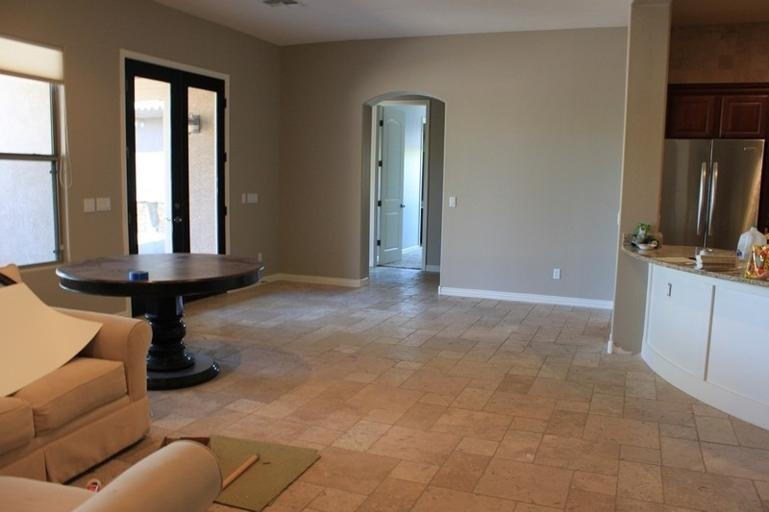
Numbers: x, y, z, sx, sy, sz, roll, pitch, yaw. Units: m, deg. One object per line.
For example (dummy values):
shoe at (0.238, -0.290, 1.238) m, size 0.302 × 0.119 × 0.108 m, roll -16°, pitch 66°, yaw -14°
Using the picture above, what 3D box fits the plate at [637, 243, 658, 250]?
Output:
plate at (2.647, -0.103, 5.379) m, size 0.173 × 0.059 × 0.115 m, roll 3°, pitch 13°, yaw 11°
